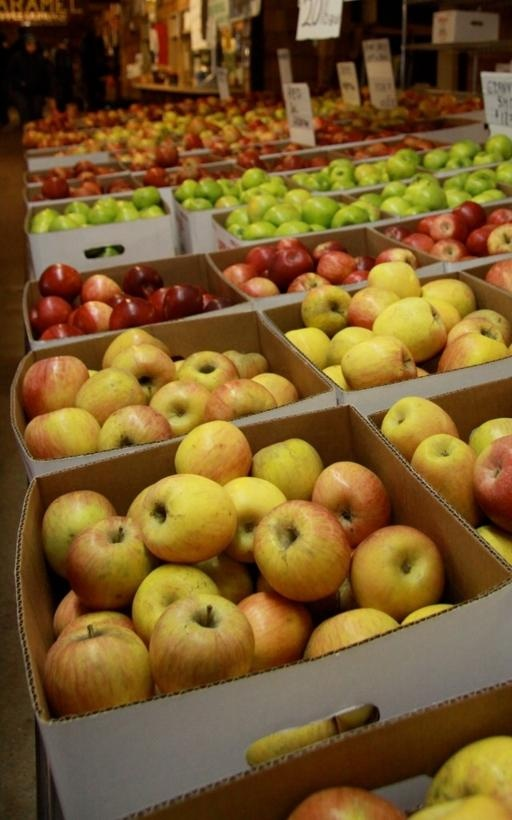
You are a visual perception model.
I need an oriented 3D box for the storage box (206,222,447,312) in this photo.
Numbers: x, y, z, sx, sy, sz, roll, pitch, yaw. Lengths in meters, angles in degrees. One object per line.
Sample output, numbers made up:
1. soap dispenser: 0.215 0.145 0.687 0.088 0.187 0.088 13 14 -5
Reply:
1. storage box: 0.258 -0.489 2.052 0.370 0.142 0.421 -17 42 -14
